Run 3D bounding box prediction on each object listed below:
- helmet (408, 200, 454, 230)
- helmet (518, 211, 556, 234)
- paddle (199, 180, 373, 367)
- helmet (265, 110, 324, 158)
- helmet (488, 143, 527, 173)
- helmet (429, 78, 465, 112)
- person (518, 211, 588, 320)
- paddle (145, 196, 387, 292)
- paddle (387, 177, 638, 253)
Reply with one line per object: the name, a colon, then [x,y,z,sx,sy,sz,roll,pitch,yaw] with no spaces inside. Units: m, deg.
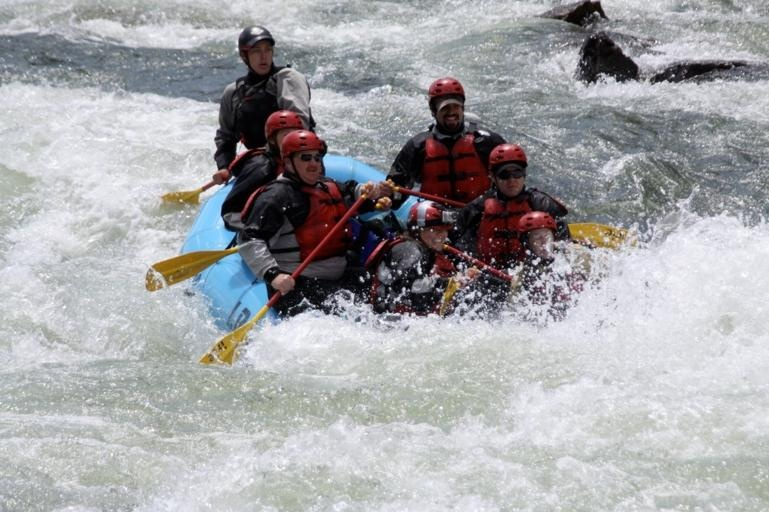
helmet: [0.530,-0.472,10.561,0.463,0.224,0.321,3,6,6]
helmet: [1.734,-0.362,10.429,0.428,0.320,0.313,5,38,7]
paddle: [-1.085,0.264,10.496,3.059,0.342,0.219,-37,47,-2]
helmet: [-1.168,-1.525,11.126,0.494,0.531,0.410,31,26,23]
helmet: [1.410,-1.106,10.736,0.342,0.392,0.358,-5,54,-6]
helmet: [0.791,-2.036,11.536,0.375,0.460,0.404,0,79,-9]
person: [1.866,0.103,10.552,0.788,1.182,0.571,-8,0,0]
paddle: [-1.294,-0.117,10.864,3.005,0.152,0.362,-21,82,0]
paddle: [1.479,-0.470,11.204,3.383,0.160,0.403,12,37,6]
